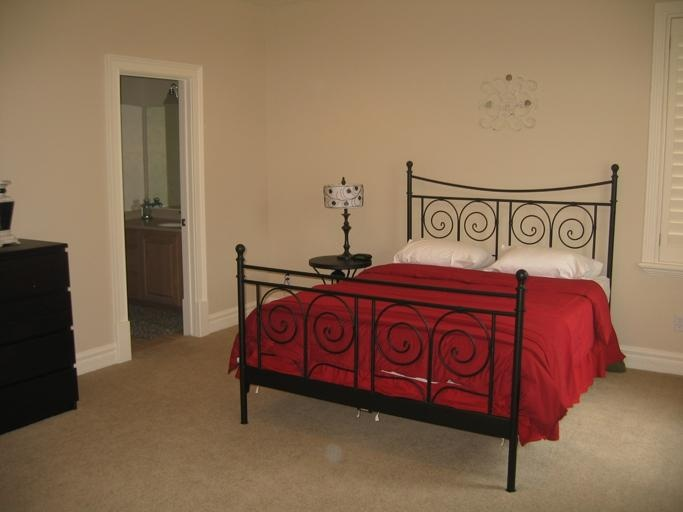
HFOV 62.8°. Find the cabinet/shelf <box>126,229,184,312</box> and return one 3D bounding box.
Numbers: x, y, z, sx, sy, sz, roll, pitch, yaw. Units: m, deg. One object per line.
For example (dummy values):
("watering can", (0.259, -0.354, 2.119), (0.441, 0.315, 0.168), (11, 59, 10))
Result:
("cabinet/shelf", (-1.864, 0.121, 5.667), (0.709, 0.693, 0.393), (5, 10, 27))

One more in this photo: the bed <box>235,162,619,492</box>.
("bed", (0.857, 0.359, 4.029), (2.039, 1.639, 2.421), (4, 10, 31))

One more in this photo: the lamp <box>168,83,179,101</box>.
("lamp", (-1.771, -1.725, 5.874), (0.058, 0.161, 0.230), (-11, 18, -39))

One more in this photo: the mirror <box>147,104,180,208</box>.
("mirror", (-1.921, -1.089, 6.092), (0.409, 1.102, 0.125), (6, 15, 24))
